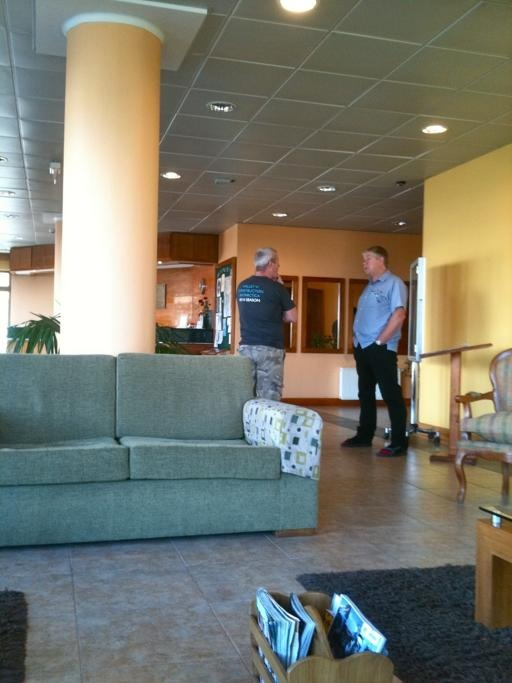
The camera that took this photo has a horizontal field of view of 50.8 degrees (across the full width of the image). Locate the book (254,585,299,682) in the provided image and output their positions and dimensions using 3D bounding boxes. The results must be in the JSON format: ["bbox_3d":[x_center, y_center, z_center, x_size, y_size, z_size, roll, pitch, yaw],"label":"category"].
[{"bbox_3d":[0.034,0.449,0.836,0.042,0.110,0.089,-8,5,-24],"label":"book"}]

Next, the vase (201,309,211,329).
[{"bbox_3d":[-1.111,-0.503,12.227,0.246,0.415,0.441,-1,-3,4],"label":"vase"}]

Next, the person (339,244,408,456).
[{"bbox_3d":[1.150,0.079,5.064,0.454,1.947,0.667,0,2,-15],"label":"person"}]

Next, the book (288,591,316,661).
[{"bbox_3d":[0.070,0.441,0.828,0.028,0.081,0.083,1,3,-11],"label":"book"}]

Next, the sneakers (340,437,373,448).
[{"bbox_3d":[0.994,0.994,5.375,0.317,0.126,0.114,4,-7,-5],"label":"sneakers"}]

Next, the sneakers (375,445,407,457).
[{"bbox_3d":[1.224,0.995,4.835,0.306,0.097,0.112,0,2,-16],"label":"sneakers"}]
